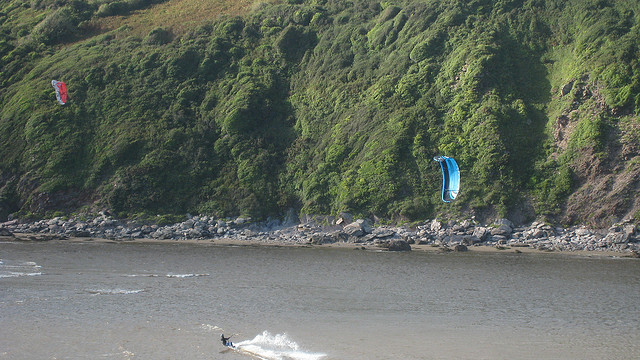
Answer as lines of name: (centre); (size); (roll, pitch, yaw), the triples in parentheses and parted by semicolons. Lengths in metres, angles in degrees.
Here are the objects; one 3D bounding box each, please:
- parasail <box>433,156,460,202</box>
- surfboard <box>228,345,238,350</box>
parasail: (32.537, -0.659, 351.085); (4.910, 11.139, 4.850); (1, 1, 16)
surfboard: (-19.200, 36.184, 306.471); (1.802, 0.581, 1.170); (-1, 6, -2)
